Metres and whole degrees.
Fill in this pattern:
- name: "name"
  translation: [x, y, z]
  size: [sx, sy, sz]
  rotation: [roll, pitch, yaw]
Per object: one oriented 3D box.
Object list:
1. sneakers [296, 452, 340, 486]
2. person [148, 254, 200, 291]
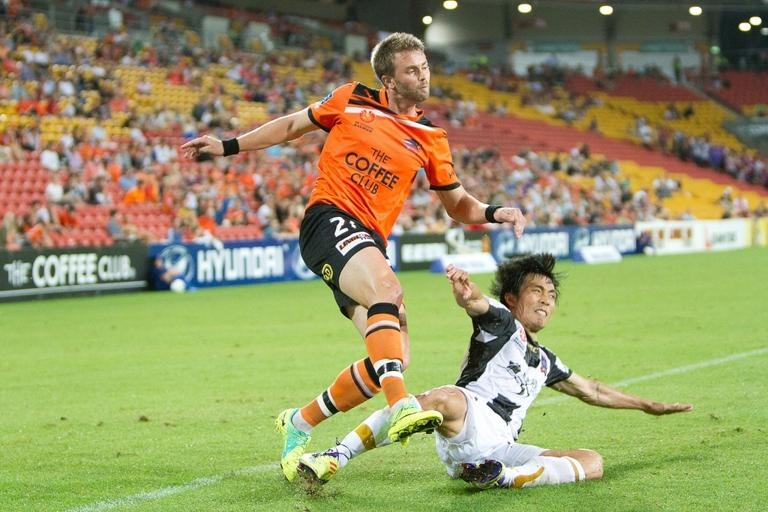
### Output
- name: "sneakers"
  translation: [-0.670, 2.133, 10.580]
  size: [0.266, 0.205, 0.523]
  rotation: [-25, 0, -8]
- name: "person"
  translation: [-4.217, 0.241, 20.290]
  size: [1.124, 0.319, 1.075]
  rotation: [-6, 36, -24]
